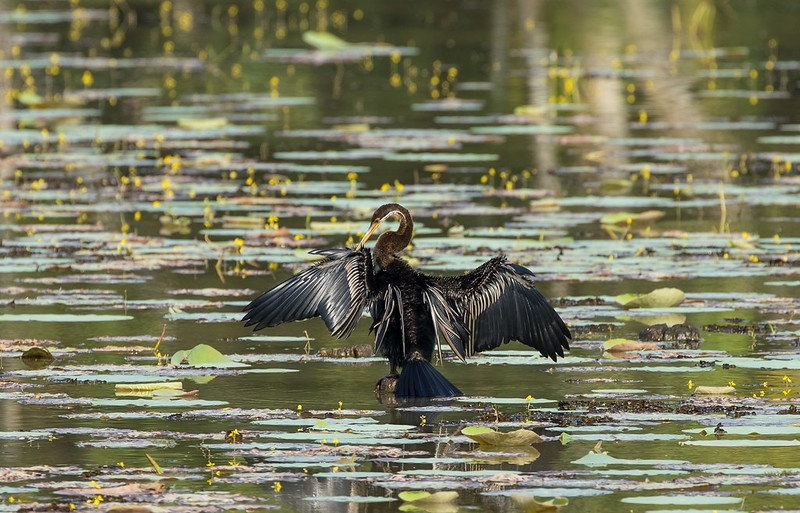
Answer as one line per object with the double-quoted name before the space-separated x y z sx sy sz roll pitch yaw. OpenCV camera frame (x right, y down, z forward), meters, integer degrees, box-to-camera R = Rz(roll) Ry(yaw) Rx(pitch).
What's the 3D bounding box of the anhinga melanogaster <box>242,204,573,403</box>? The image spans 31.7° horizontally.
"anhinga melanogaster" 0.142 0.479 12.205 2.138 0.908 1.576 27 45 28
